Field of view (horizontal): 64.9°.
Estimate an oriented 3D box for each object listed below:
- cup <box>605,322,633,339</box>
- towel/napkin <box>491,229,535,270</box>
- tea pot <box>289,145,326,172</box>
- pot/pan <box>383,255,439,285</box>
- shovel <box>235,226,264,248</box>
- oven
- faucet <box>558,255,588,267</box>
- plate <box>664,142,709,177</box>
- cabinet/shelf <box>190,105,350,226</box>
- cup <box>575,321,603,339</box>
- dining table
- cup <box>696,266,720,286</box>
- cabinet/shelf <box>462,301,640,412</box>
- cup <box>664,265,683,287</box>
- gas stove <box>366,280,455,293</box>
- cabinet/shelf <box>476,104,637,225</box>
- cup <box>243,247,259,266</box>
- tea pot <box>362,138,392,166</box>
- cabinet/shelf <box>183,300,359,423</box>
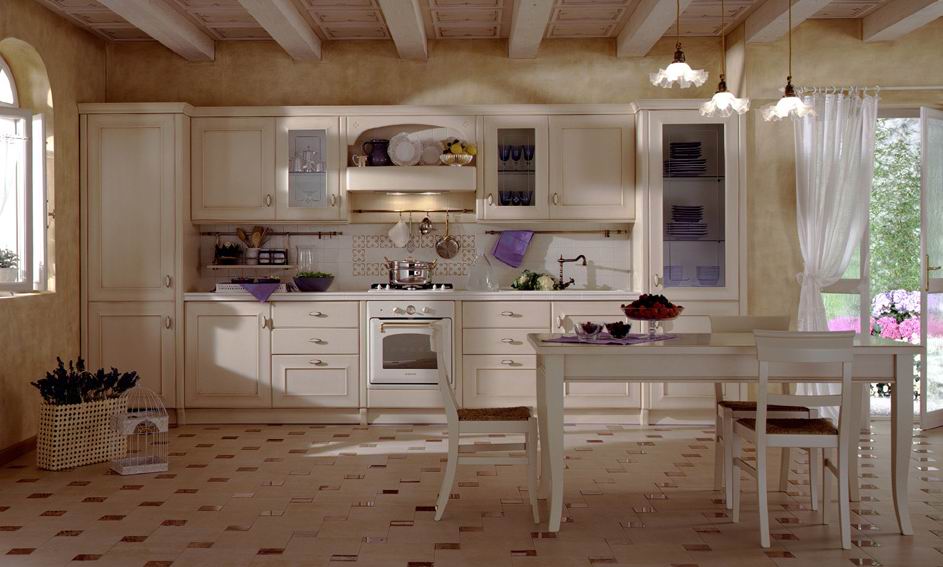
[{"bbox_3d":[1.092,0.346,5.429,0.151,0.069,0.141,-1,-2,0],"label":"cup"},{"bbox_3d":[0.407,-0.364,7.600,0.417,0.362,0.100,19,1,1],"label":"towel/napkin"},{"bbox_3d":[-1.594,-1.197,7.247,0.476,0.262,0.231,0,4,-1],"label":"tea pot"},{"bbox_3d":[-0.600,-0.110,7.418,0.452,0.169,0.275,0,3,5],"label":"pot/pan"},{"bbox_3d":[-2.223,-0.501,7.494,0.184,0.273,0.073,6,8,3],"label":"shovel"},{"bbox_3d":[-0.640,0.536,7.395,1.202,0.975,0.764,0,-3,-1],"label":"oven"},{"bbox_3d":[1.030,-0.238,7.569,0.299,0.102,0.036,2,14,9],"label":"faucet"},{"bbox_3d":[2.032,-1.178,7.075,0.369,0.336,0.086,0,14,1],"label":"plate"},{"bbox_3d":[-2.005,-1.185,7.250,1.424,0.851,0.461,0,-2,-1],"label":"cabinet/shelf"},{"bbox_3d":[0.858,0.335,5.368,0.152,0.061,0.140,1,2,0],"label":"cup"},{"bbox_3d":[1.487,1.280,5.783,2.885,1.137,1.445,0,2,1],"label":"dining table"},{"bbox_3d":[2.261,-0.079,7.082,0.204,0.143,0.219,-1,2,0],"label":"cup"},{"bbox_3d":[0.656,0.692,7.492,2.071,1.089,1.033,0,-4,2],"label":"cabinet/shelf"},{"bbox_3d":[1.928,-0.073,7.094,0.216,0.134,0.178,0,-1,25],"label":"cup"},{"bbox_3d":[-0.586,0.033,7.261,0.769,0.041,0.445,-1,12,-6],"label":"gas stove"},{"bbox_3d":[0.862,-1.196,7.230,1.420,0.826,0.459,0,-1,2],"label":"cabinet/shelf"},{"bbox_3d":[-2.203,-0.265,7.517,0.177,0.145,0.134,4,-6,-41],"label":"cup"},{"bbox_3d":[-0.941,-1.292,7.353,0.341,0.275,0.217,-1,3,-5],"label":"tea pot"},{"bbox_3d":[-1.938,0.670,7.623,2.332,1.342,1.137,0,-4,-1],"label":"cabinet/shelf"}]
